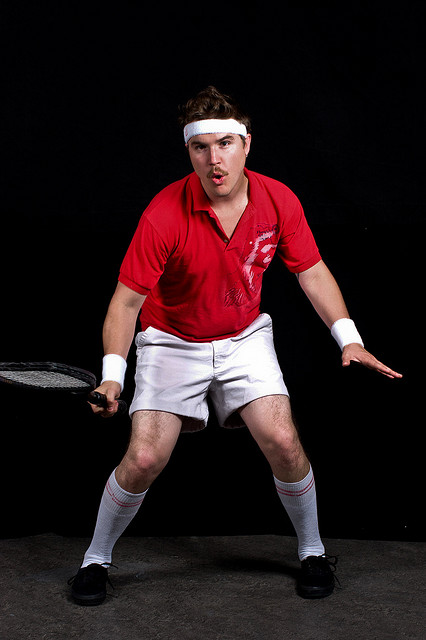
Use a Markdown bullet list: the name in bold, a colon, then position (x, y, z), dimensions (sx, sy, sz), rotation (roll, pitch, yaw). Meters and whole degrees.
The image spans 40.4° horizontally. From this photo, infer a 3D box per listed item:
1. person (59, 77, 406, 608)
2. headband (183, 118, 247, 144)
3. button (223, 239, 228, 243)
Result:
- **person**: position (0.006, 0.062, 1.683), dimensions (0.852, 1.463, 0.480), rotation (1, -5, -14)
- **headband**: position (0.014, -0.541, 1.644), dimensions (0.183, 0.060, 0.097), rotation (0, -5, -9)
- **button**: position (0.037, -0.226, 1.649), dimensions (0.011, 0.010, 0.005), rotation (1, -5, -18)
